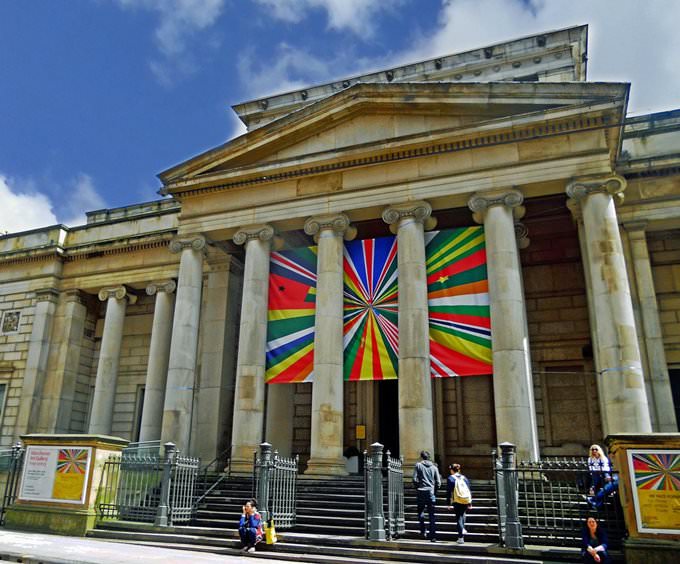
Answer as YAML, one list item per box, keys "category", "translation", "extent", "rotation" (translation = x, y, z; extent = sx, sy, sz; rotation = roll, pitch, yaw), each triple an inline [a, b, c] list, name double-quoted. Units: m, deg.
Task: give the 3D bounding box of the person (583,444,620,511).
- category: "person"
  translation: [5.649, 4.227, 11.708]
  extent: [0.709, 1.349, 1.720]
  rotation: [-10, -26, 21]

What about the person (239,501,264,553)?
- category: "person"
  translation: [-2.057, 5.522, 12.134]
  extent: [0.514, 1.051, 0.626]
  rotation: [-2, -25, 4]

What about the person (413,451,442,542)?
- category: "person"
  translation: [1.969, 4.879, 12.271]
  extent: [0.577, 1.882, 0.709]
  rotation: [-3, -25, 7]

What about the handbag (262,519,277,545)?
- category: "handbag"
  translation: [-1.653, 5.743, 12.286]
  extent: [0.313, 0.488, 0.556]
  rotation: [3, -24, -6]

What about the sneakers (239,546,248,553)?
- category: "sneakers"
  translation: [-2.147, 5.879, 11.769]
  extent: [0.138, 0.062, 0.184]
  rotation: [1, -8, 0]

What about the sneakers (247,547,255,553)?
- category: "sneakers"
  translation: [-1.976, 5.881, 11.769]
  extent: [0.162, 0.107, 0.280]
  rotation: [3, -23, -6]

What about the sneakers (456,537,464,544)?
- category: "sneakers"
  translation: [2.567, 5.571, 11.526]
  extent: [0.067, 0.097, 0.164]
  rotation: [5, -17, -9]

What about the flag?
- category: "flag"
  translation: [1.356, 0.824, 18.235]
  extent: [6.252, 3.739, 0.091]
  rotation: [-5, -15, 20]

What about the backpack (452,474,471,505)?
- category: "backpack"
  translation: [2.653, 4.613, 11.912]
  extent: [0.396, 0.662, 0.414]
  rotation: [-3, -25, 7]
